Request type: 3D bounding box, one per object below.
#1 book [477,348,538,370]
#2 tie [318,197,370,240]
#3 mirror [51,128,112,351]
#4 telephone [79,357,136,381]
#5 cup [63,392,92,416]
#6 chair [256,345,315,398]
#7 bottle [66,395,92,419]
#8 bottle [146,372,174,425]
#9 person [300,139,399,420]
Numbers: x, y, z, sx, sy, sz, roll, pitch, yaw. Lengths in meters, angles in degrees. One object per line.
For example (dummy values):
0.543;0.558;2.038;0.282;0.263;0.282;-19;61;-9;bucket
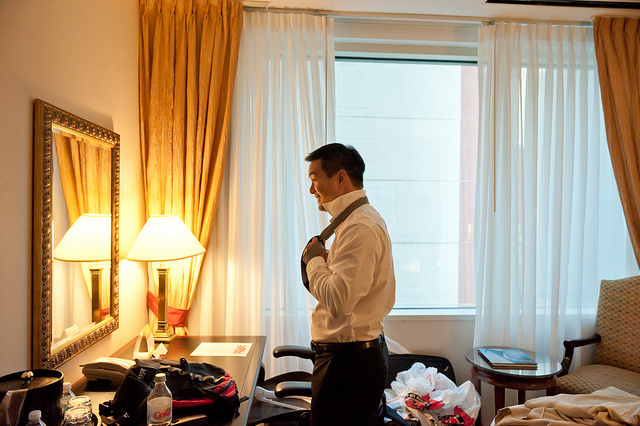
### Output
1.528;1.201;4.235;0.409;0.124;0.329;-1;-6;2;book
0.168;0.036;3.369;0.441;0.065;0.063;-44;-15;5;tie
-1.581;0.184;3.413;0.078;1.374;0.538;-2;-5;13;mirror
-1.375;1.025;3.367;0.327;0.141;0.104;-2;-5;10;telephone
-1.396;1.082;2.986;0.141;0.141;0.144;0;-4;0;cup
-0.242;1.135;3.663;0.368;0.468;0.396;5;-13;-12;chair
-1.354;1.090;2.941;0.121;0.128;0.126;0;-1;4;bottle
-0.936;1.075;2.972;0.161;0.287;0.095;-1;-4;1;bottle
0.182;0.460;3.350;0.615;1.825;0.466;-1;-4;5;person
